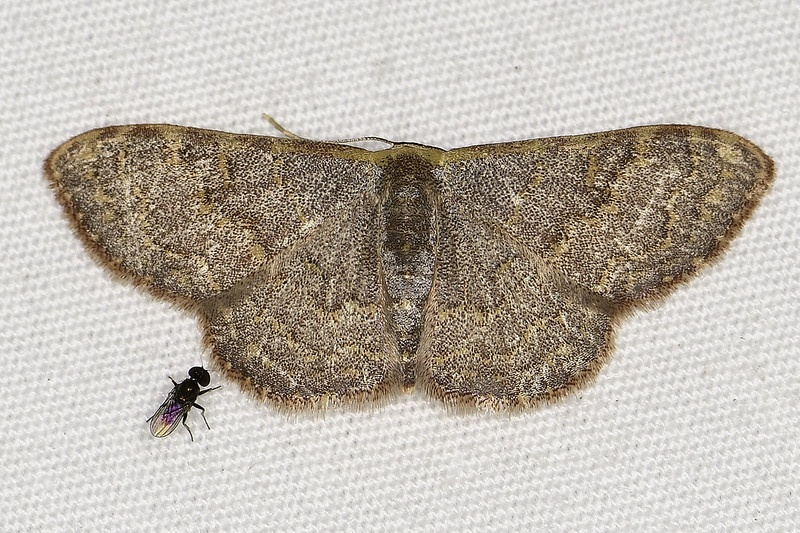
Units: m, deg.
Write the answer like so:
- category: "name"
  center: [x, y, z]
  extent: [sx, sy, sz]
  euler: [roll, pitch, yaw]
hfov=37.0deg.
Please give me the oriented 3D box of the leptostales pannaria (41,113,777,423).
- category: "leptostales pannaria"
  center: [0.050, -0.027, 6.189]
  extent: [3.410, 0.570, 1.322]
  euler: [0, 79, -2]

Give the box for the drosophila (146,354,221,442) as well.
- category: "drosophila"
  center: [-1.203, 0.742, 6.590]
  extent: [0.408, 0.137, 0.469]
  euler: [31, 64, 4]
